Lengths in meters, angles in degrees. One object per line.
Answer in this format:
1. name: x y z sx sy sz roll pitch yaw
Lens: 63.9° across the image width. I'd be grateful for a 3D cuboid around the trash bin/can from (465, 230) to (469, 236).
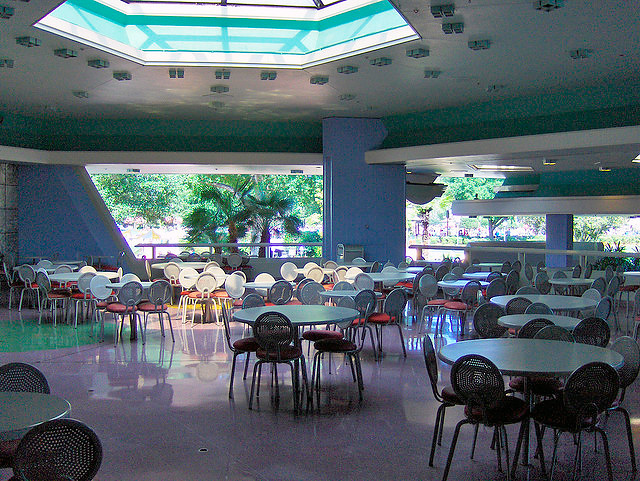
1. trash bin/can: 12.041 -0.662 42.480 0.203 0.477 0.600 -2 -1 37
